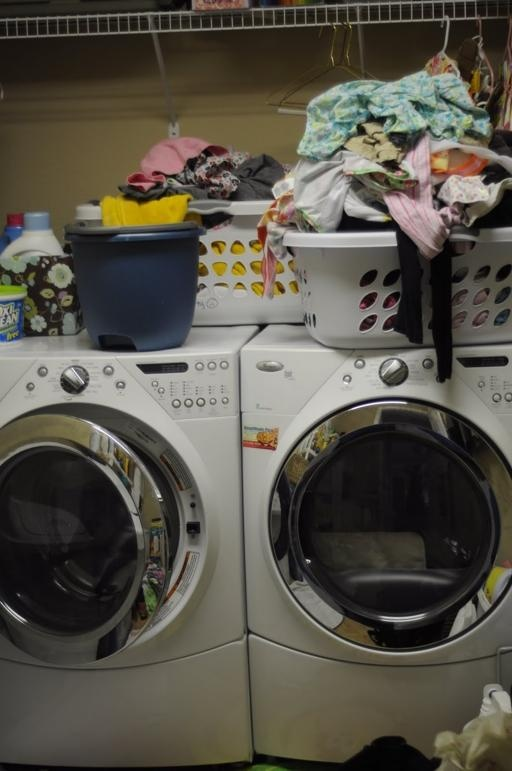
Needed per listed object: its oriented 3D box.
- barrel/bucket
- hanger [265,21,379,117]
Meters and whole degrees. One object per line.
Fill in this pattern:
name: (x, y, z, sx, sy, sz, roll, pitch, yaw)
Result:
barrel/bucket: (-0.230, -0.189, 1.241, 0.228, 0.206, 0.248, -2, 6, 0)
hanger: (0.169, -0.907, 1.759, 0.270, 0.211, 0.166, -5, 24, 2)
